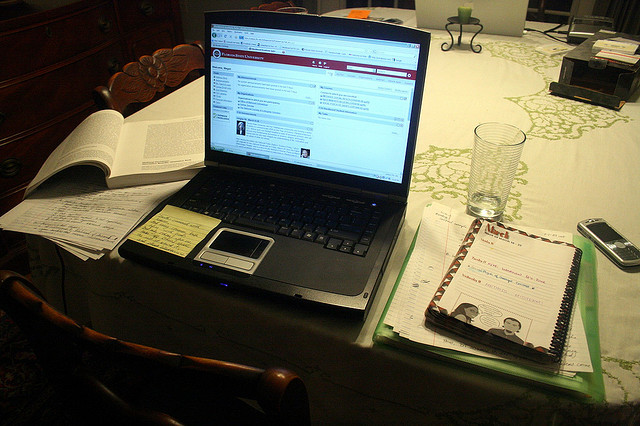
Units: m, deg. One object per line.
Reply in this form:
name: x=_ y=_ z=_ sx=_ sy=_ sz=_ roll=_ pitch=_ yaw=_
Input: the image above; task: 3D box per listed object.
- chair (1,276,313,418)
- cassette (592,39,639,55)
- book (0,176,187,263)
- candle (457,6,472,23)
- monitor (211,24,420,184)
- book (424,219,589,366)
chair: x=-0.286 y=0.242 z=0.874 sx=0.271 sy=0.433 sz=0.280 roll=11 pitch=68 yaw=1
cassette: x=0.999 y=-0.564 z=1.544 sx=0.089 sy=0.014 sz=0.089 roll=18 pitch=38 yaw=32
book: x=-0.533 y=-0.006 z=1.071 sx=0.307 sy=0.048 sz=0.226 roll=8 pitch=42 yaw=16
candle: x=0.575 y=-0.793 z=1.827 sx=0.064 sy=0.068 sz=0.061 roll=-3 pitch=45 yaw=5
monitor: x=-0.032 y=-0.251 z=1.061 sx=0.604 sy=0.350 sz=0.009 roll=16 pitch=24 yaw=30
book: x=0.376 y=0.141 z=0.914 sx=0.247 sy=0.146 sz=0.254 roll=18 pitch=27 yaw=19
